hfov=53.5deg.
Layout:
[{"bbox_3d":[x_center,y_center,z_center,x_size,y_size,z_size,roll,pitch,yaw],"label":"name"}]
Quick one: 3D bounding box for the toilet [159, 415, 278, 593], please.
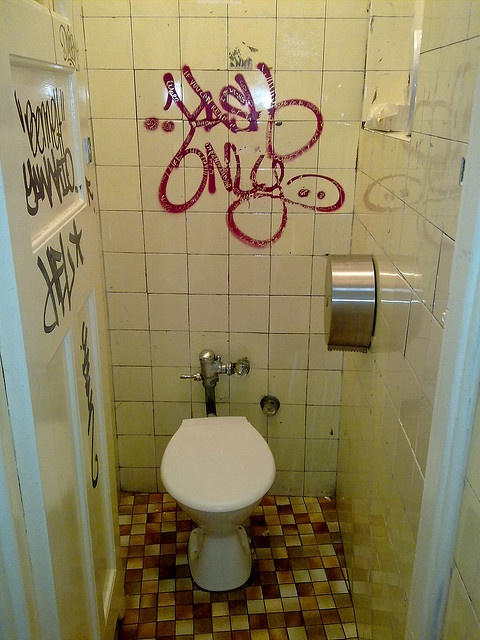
[{"bbox_3d":[-0.079,0.716,1.812,0.302,0.514,0.486,-1,15,-8],"label":"toilet"}]
